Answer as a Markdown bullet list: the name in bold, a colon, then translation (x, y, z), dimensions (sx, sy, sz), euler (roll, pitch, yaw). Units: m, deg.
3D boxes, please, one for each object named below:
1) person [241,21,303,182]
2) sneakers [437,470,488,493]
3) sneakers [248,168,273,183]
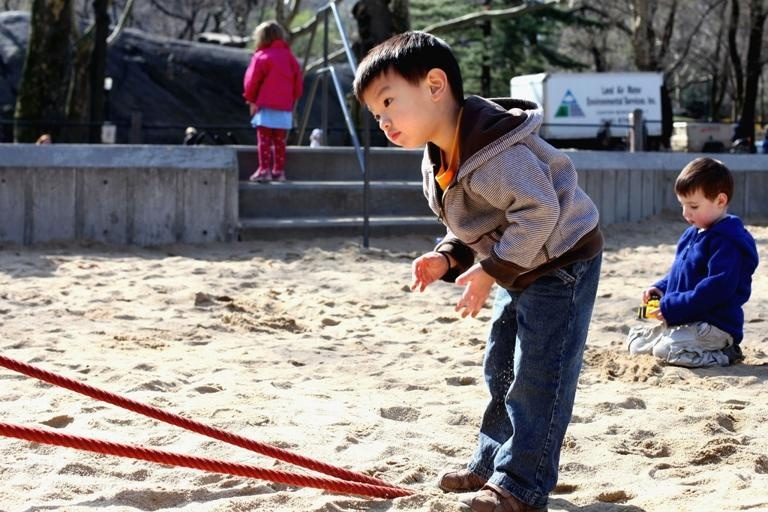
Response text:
- **person**: translation (-1.252, -1.717, 15.075), dimensions (0.642, 1.789, 0.477), euler (1, 4, -16)
- **sneakers**: translation (0.594, 1.751, 10.344), dimensions (0.339, 0.131, 0.159), euler (6, -2, -4)
- **sneakers**: translation (-1.381, -0.892, 14.956), dimensions (0.287, 0.163, 0.125), euler (0, -1, -9)
